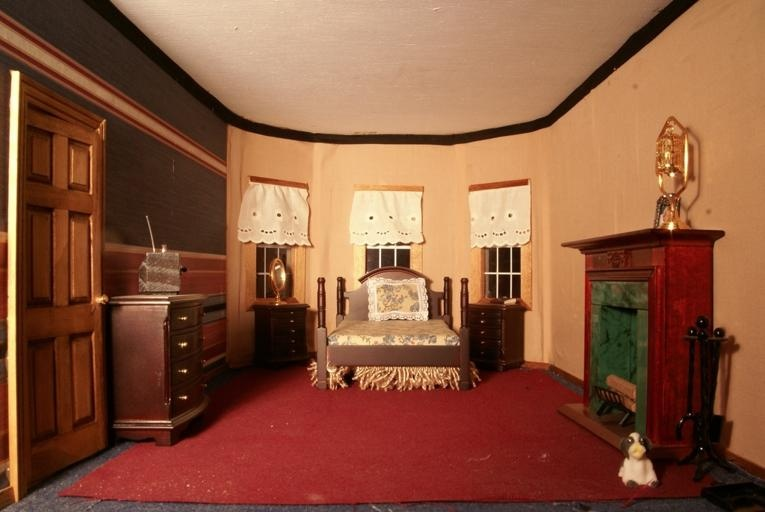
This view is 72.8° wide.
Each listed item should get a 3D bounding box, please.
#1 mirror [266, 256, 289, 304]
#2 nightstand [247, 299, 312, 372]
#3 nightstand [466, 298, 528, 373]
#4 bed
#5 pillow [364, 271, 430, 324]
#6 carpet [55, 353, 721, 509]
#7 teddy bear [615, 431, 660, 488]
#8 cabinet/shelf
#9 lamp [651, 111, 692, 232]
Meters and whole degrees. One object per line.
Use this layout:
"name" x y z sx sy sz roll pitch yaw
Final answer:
"mirror" -1.418 0.330 7.016 0.254 0.554 0.496 -2 12 -7
"nightstand" -1.363 0.985 6.932 0.779 0.882 0.630 0 11 -11
"nightstand" 1.442 1.062 6.842 0.550 0.751 0.759 7 -6 -39
"bed" 0.112 0.792 6.427 1.499 0.976 1.471 0 -2 2
"pillow" 0.175 0.583 6.844 0.682 0.519 0.077 0 -27 -4
"carpet" -0.100 1.672 4.513 4.344 0.083 1.867 -2 12 -7
"teddy bear" 1.905 1.581 4.039 0.313 0.393 0.380 -3 -12 20
"cabinet/shelf" -2.048 1.024 4.895 0.648 1.242 0.938 -3 -4 -1
"lamp" 2.498 -0.734 4.468 0.291 0.923 0.905 6 13 27
